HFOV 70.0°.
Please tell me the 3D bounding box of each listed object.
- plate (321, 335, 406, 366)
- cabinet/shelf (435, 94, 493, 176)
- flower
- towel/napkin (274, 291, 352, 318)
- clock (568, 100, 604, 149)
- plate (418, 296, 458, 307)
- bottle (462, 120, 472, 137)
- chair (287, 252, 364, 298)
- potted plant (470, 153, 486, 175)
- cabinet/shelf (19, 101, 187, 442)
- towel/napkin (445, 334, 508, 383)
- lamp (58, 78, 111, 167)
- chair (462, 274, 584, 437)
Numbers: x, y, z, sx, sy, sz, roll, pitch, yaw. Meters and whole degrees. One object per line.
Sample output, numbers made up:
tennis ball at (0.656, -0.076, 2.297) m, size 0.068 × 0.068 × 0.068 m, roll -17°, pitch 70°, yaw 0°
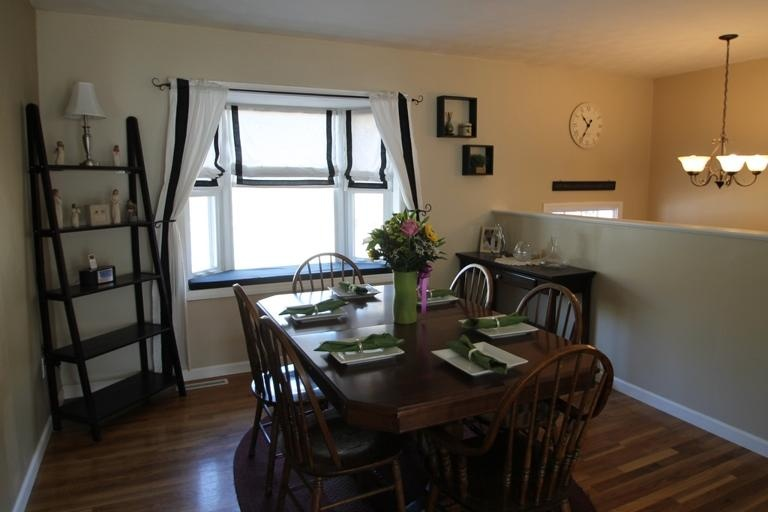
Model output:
plate at (-0.117, 0.562, 3.285) m, size 0.276 × 0.087 × 0.231 m, roll -3°, pitch 7°, yaw -28°
cabinet/shelf at (0.866, -1.236, 5.674) m, size 0.677 × 0.822 × 0.178 m, roll -6°, pitch 11°, yaw -24°
flower at (0.145, -0.176, 3.747) m, size 0.503 × 0.502 × 0.504 m, roll -3°, pitch 10°, yaw -29°
towel/napkin at (-0.503, 0.363, 3.929) m, size 0.500 × 0.174 × 0.162 m, roll -9°, pitch -28°, yaw -18°
clock at (2.290, -1.517, 6.263) m, size 0.526 × 0.538 × 0.056 m, roll -8°, pitch 9°, yaw -36°
plate at (0.430, 0.334, 4.069) m, size 0.172 × 0.024 × 0.118 m, roll -6°, pitch 11°, yaw -17°
bottle at (0.854, -1.295, 5.650) m, size 0.123 × 0.130 × 0.047 m, roll -7°, pitch 12°, yaw -27°
chair at (-0.598, 0.179, 5.282) m, size 0.478 × 0.673 × 0.455 m, roll -4°, pitch 8°, yaw -22°
potted plant at (0.972, -0.945, 5.710) m, size 0.225 × 0.232 × 0.180 m, roll -4°, pitch 6°, yaw -24°
cabinet/shelf at (-2.275, 0.067, 4.421) m, size 1.012 × 2.510 × 0.865 m, roll -8°, pitch 12°, yaw -33°
towel/napkin at (0.545, 0.584, 3.144) m, size 0.137 × 0.137 × 0.373 m, roll -6°, pitch 10°, yaw -20°
lamp at (-2.424, -1.076, 4.420) m, size 0.297 × 0.687 × 0.409 m, roll -7°, pitch 12°, yaw -28°
chair at (1.356, 0.517, 5.519) m, size 0.489 × 0.943 × 1.527 m, roll -10°, pitch 11°, yaw -24°
